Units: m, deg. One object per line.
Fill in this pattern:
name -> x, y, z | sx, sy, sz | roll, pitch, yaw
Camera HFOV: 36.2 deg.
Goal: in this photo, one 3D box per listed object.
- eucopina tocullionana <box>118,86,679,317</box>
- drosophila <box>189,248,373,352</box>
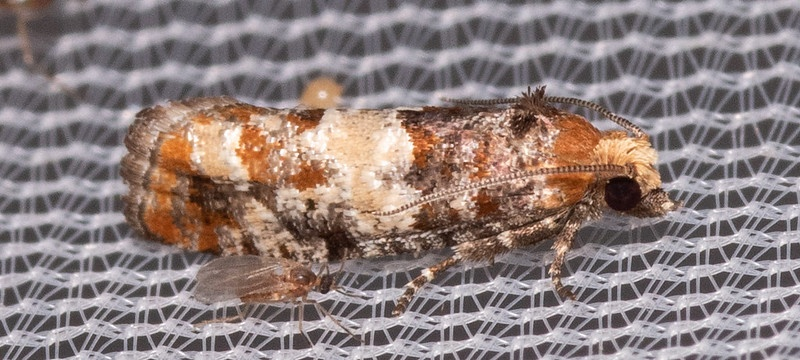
eucopina tocullionana -> -0.202, 0.023, 9.760 | 4.113, 1.323, 0.568 | 1, -6, 0
drosophila -> -1.037, 0.936, 9.760 | 1.197, 0.293, 0.719 | 3, 29, -3
